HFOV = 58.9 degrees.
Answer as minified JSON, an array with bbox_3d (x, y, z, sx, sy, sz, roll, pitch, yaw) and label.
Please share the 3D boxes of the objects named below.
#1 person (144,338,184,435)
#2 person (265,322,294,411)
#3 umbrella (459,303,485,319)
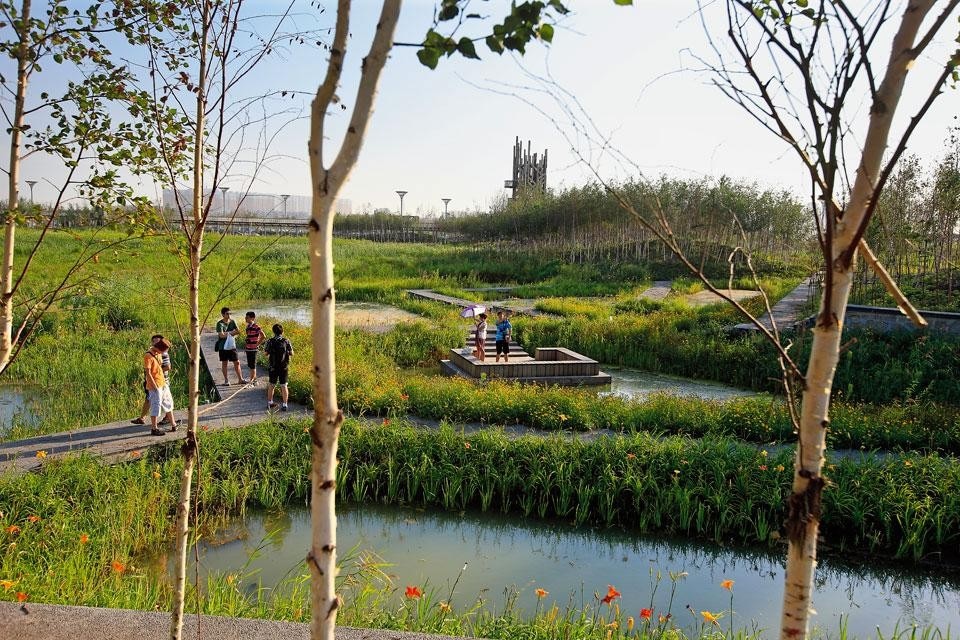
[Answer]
[{"bbox_3d":[-5.005,1.029,13.317,0.486,1.212,0.738,2,0,-21],"label":"person"},{"bbox_3d":[-3.553,0.822,15.012,0.413,1.284,1.388,2,0,-13],"label":"person"},{"bbox_3d":[-0.244,-0.208,21.937,0.585,0.247,0.627,-3,5,9],"label":"umbrella"}]
